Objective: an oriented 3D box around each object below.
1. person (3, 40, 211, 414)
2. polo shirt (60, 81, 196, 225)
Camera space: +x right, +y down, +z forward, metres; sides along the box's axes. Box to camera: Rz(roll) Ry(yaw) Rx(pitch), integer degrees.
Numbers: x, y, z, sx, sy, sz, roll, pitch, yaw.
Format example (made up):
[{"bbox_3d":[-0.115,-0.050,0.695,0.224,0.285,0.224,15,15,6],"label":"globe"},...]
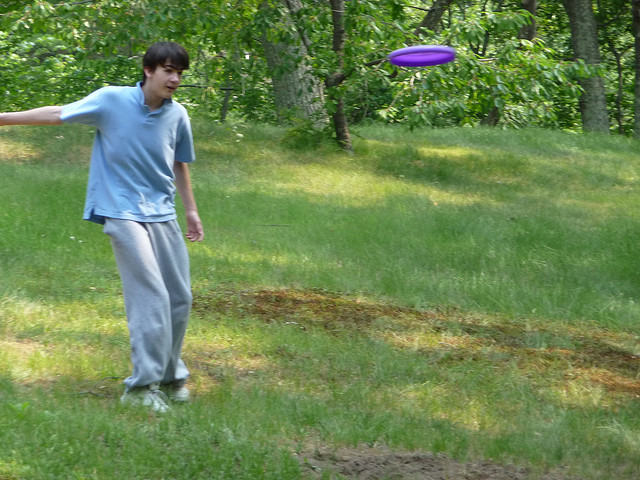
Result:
[{"bbox_3d":[-1.262,-0.085,4.988,1.048,2.676,0.933,-3,18,-21],"label":"person"},{"bbox_3d":[-1.325,-0.637,5.026,0.874,1.033,0.452,-7,19,-33],"label":"polo shirt"}]
